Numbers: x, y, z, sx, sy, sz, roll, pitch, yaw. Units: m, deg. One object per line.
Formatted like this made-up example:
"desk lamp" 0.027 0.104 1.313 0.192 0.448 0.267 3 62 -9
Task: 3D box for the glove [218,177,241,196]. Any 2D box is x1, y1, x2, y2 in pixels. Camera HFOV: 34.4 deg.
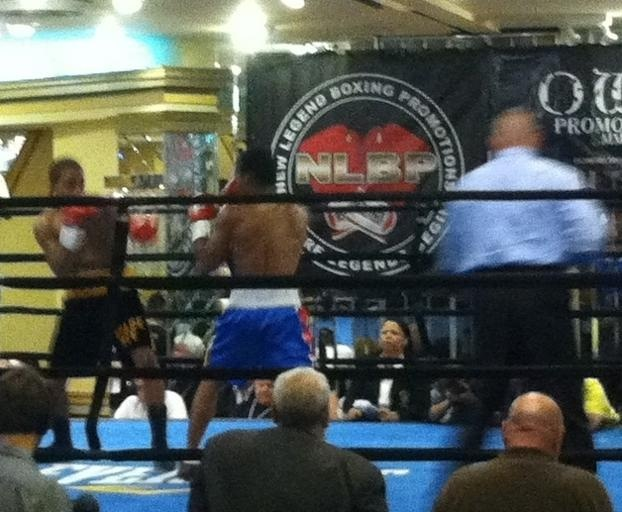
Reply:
"glove" -0.404 -0.344 5.053 0.034 0.093 0.092 35 -61 -26

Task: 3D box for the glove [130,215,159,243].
"glove" -0.925 -0.157 5.585 0.155 0.103 0.159 0 -4 -16

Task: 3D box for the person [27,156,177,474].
"person" -1.052 0.279 5.271 0.723 1.538 0.530 -1 -4 -20
